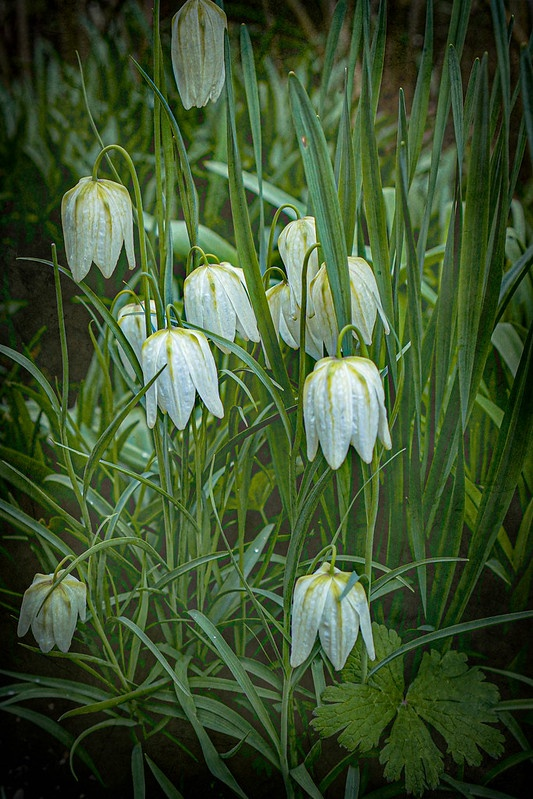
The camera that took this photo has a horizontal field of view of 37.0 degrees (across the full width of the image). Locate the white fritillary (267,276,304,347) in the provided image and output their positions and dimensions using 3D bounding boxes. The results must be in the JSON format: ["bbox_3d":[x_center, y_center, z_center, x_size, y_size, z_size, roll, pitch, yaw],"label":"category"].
[{"bbox_3d":[0.023,-0.112,1.072,0.015,0.071,0.072,-8,52,-22],"label":"white fritillary"}]

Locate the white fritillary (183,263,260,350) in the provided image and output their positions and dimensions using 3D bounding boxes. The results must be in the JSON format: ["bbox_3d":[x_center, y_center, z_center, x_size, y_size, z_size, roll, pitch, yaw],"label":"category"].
[{"bbox_3d":[-0.059,-0.124,1.043,0.096,0.084,0.052,-2,27,-8],"label":"white fritillary"}]

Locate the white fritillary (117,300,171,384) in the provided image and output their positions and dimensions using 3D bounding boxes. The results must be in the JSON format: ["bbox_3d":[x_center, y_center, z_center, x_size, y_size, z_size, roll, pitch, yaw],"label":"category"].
[{"bbox_3d":[-0.185,-0.086,1.170,0.053,0.153,0.067,3,6,10],"label":"white fritillary"}]

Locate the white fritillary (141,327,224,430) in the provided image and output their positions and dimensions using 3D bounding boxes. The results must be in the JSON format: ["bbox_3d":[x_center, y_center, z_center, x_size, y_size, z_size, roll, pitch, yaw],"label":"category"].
[{"bbox_3d":[-0.112,-0.047,1.015,0.082,0.142,0.111,-9,46,-7],"label":"white fritillary"}]

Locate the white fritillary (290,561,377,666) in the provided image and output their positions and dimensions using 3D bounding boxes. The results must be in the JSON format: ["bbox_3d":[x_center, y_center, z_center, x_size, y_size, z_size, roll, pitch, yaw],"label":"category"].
[{"bbox_3d":[0.090,0.294,1.034,0.067,0.157,0.092,-1,3,-3],"label":"white fritillary"}]
